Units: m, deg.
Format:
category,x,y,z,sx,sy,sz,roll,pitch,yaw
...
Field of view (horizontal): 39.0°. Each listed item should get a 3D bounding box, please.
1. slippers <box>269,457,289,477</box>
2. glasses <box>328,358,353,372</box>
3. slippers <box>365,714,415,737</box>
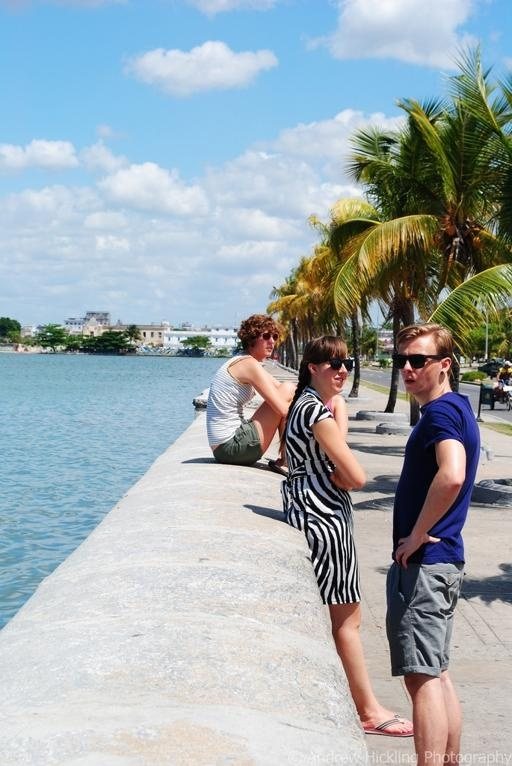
category,x,y,z,sx,sy,sz,roll,pitch,yaw
slippers,0.159,0.643,5.497,0.140,0.130,0.042,29,32,32
glasses,0.395,-0.090,3.480,0.093,0.027,0.095,-5,-8,37
slippers,0.598,1.555,3.274,0.228,0.053,0.116,-2,13,-2
